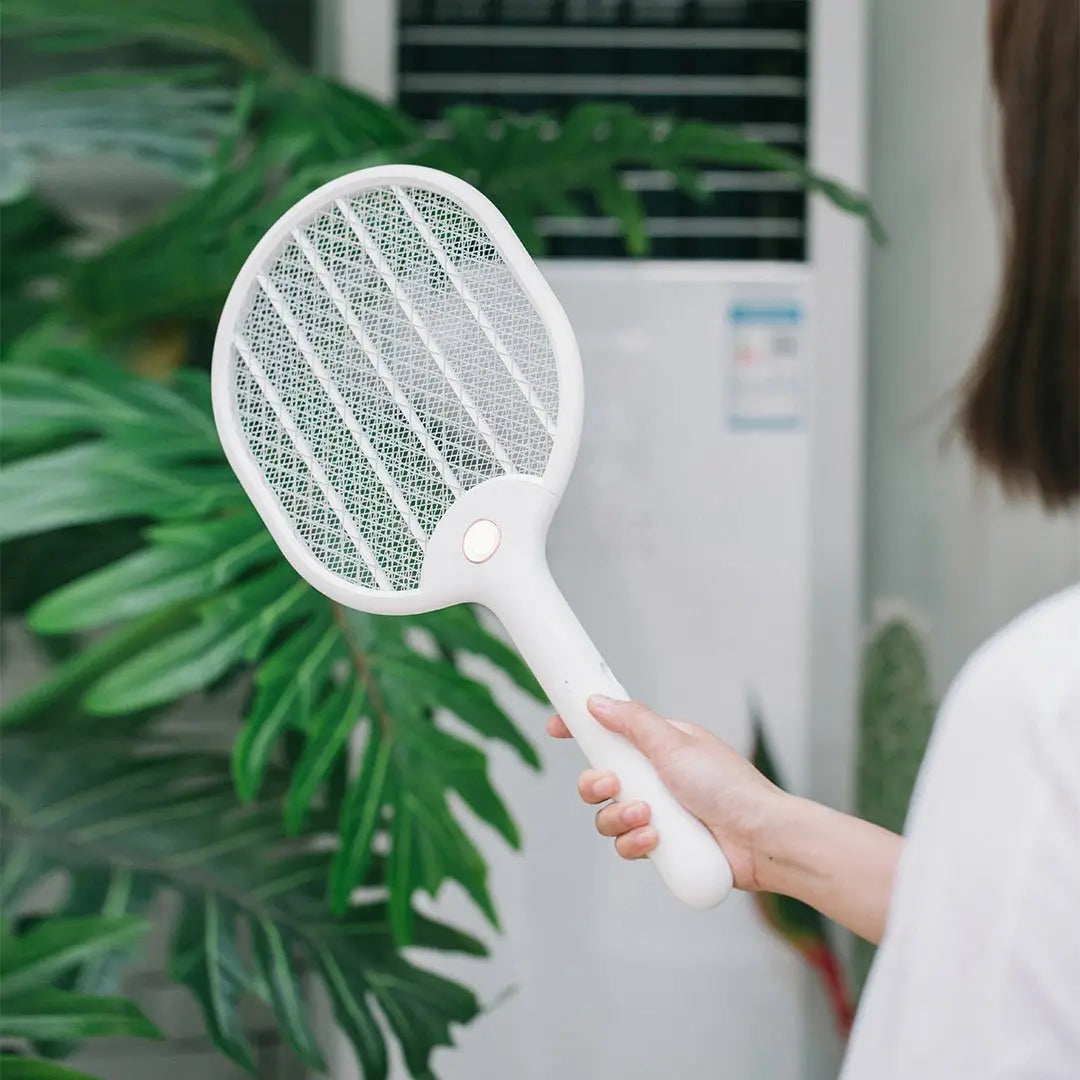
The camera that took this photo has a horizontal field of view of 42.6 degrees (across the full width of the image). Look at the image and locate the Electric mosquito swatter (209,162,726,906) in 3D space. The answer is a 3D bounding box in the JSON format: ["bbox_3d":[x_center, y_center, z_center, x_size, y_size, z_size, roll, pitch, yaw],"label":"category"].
[{"bbox_3d":[-0.026,-0.008,1.068,0.302,0.055,0.583,-34,82,0],"label":"Electric mosquito swatter"}]
